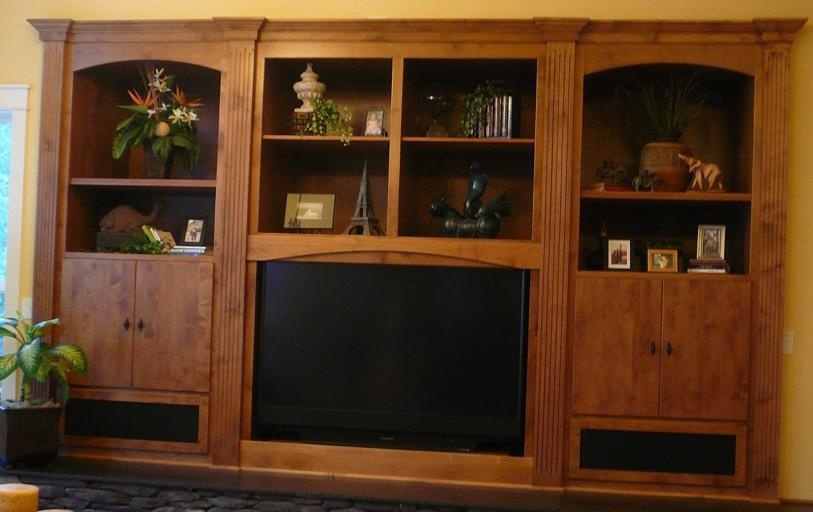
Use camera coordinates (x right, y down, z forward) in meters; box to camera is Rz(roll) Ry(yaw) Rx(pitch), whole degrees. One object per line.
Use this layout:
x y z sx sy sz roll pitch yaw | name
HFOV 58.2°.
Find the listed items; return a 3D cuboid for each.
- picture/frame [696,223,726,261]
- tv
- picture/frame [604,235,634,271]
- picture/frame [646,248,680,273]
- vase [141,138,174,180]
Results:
2.273 -0.095 5.439 0.290 0.337 0.037 4 -4 8 | picture/frame
-0.045 0.809 5.462 1.661 1.027 0.158 1 -4 7 | tv
1.583 -0.010 5.449 0.292 0.331 0.036 1 -7 2 | picture/frame
1.899 0.035 5.426 0.197 0.150 0.019 1 -4 4 | picture/frame
-2.011 -0.757 5.755 0.286 0.282 0.279 -1 0 26 | vase
